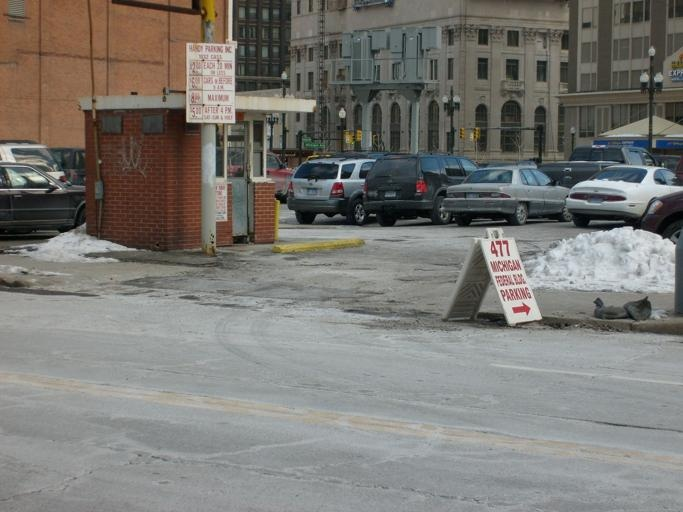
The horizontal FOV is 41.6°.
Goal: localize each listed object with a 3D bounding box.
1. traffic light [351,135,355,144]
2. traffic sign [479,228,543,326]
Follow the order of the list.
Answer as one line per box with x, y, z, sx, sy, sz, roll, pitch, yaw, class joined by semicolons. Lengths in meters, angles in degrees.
1.208;-11.910;92.253;0.287;0.887;1.068;7;5;-13;traffic light
2.241;0.276;11.823;0.630;1.247;0.917;4;7;31;traffic sign
